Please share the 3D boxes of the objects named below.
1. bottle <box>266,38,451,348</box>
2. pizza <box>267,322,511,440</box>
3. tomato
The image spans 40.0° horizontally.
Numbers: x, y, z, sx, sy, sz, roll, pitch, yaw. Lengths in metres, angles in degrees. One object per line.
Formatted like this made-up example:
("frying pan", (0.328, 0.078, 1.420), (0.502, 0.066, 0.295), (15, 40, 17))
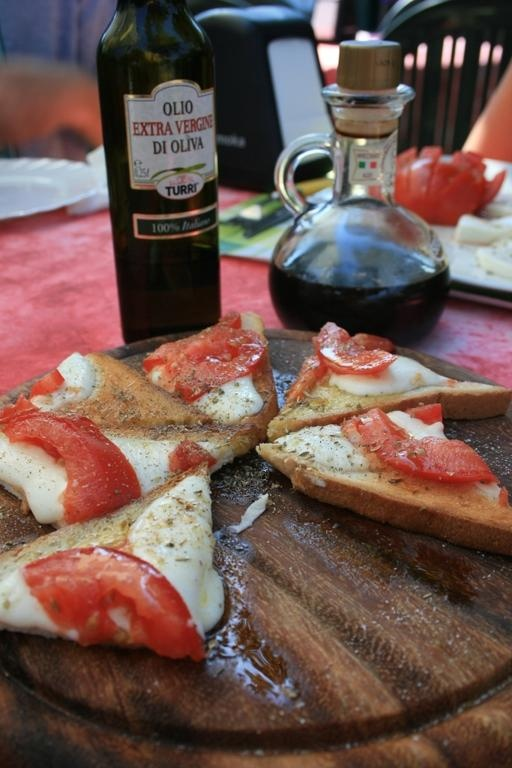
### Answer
("bottle", (0.165, -0.306, 1.199), (0.335, 0.503, 0.235), (7, 28, 17))
("pizza", (0.200, 0.008, 1.067), (0.242, 0.065, 0.208), (6, 35, 17))
("tomato", (0.444, -0.456, 1.713), (0.298, 0.149, 0.239), (3, 14, -1))
